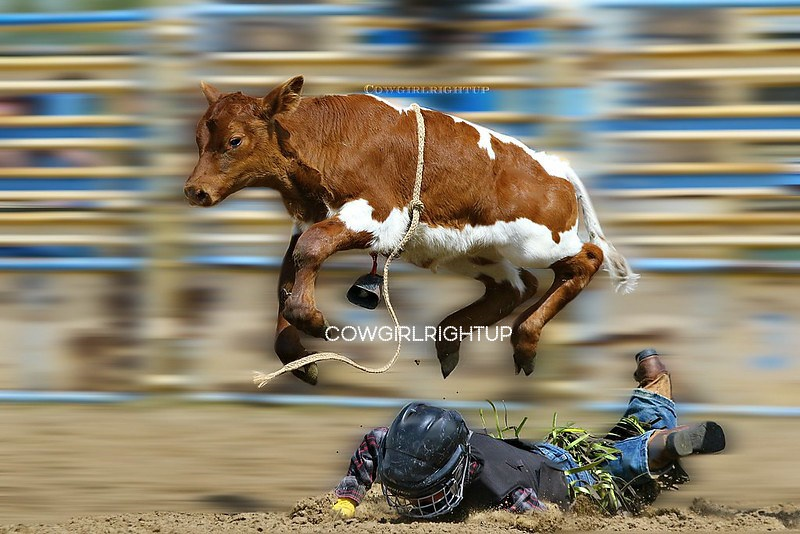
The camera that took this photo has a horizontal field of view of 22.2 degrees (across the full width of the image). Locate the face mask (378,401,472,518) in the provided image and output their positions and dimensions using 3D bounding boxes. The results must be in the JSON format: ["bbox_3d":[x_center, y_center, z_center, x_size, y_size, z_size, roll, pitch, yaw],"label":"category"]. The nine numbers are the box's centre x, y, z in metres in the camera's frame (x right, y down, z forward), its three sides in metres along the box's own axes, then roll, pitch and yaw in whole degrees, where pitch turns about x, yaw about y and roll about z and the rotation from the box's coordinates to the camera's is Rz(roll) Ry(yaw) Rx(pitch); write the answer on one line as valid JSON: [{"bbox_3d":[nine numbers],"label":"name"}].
[{"bbox_3d":[0.185,1.433,14.883,0.649,0.767,0.382,1,12,1],"label":"face mask"}]

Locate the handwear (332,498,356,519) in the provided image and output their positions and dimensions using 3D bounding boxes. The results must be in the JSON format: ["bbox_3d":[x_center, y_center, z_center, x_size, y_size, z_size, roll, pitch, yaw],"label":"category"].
[{"bbox_3d":[-0.416,1.818,15.315,0.149,0.118,0.170,20,-5,-19],"label":"handwear"}]

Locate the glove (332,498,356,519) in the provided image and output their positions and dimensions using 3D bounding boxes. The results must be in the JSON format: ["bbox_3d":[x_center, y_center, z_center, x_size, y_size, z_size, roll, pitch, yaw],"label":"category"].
[{"bbox_3d":[-0.419,1.811,15.259,0.149,0.118,0.170,20,-5,-19],"label":"glove"}]

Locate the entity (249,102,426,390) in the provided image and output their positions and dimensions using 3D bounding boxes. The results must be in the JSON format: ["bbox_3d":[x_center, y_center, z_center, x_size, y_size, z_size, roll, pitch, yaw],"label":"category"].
[{"bbox_3d":[-0.372,-0.097,15.640,1.141,2.244,1.813,6,12,24],"label":"entity"}]

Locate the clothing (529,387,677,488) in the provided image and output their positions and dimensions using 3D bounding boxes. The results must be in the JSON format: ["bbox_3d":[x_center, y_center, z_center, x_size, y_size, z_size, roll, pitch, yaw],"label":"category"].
[{"bbox_3d":[1.693,1.357,15.678,1.152,0.339,0.638,-18,19,-10],"label":"clothing"}]

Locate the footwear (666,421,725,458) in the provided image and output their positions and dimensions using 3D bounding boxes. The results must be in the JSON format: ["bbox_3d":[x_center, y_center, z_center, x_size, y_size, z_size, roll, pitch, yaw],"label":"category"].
[{"bbox_3d":[2.228,1.312,15.354,0.445,0.202,0.177,-9,-8,23],"label":"footwear"}]

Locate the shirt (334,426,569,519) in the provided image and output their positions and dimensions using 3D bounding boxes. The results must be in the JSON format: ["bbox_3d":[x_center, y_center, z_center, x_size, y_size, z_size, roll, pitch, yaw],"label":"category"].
[{"bbox_3d":[0.504,1.527,15.083,1.352,0.415,0.807,10,-26,-36],"label":"shirt"}]

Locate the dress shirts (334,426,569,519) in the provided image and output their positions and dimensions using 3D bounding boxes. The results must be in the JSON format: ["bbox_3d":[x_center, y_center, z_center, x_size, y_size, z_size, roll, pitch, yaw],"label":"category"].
[{"bbox_3d":[0.506,1.491,15.109,1.352,0.415,0.807,10,-26,-36],"label":"dress shirts"}]

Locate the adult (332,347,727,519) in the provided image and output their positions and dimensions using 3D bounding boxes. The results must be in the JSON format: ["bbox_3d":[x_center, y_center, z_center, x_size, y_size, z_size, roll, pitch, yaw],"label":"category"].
[{"bbox_3d":[1.015,1.515,15.667,1.556,0.902,3.020,14,17,43],"label":"adult"}]
